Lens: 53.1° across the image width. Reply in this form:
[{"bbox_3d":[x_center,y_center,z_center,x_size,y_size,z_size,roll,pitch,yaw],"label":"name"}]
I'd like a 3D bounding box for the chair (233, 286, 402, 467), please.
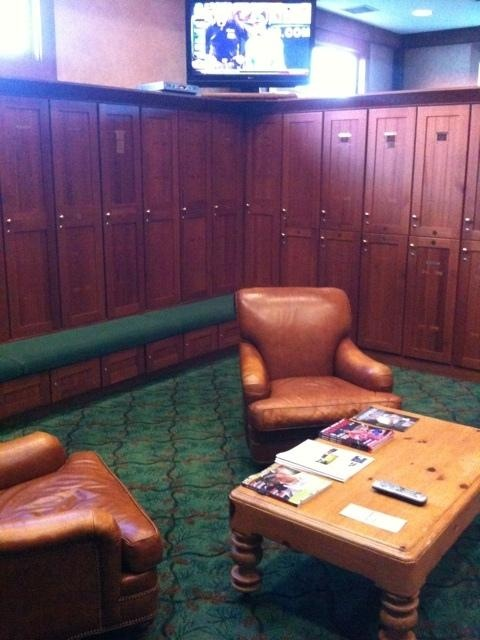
[{"bbox_3d":[0.359,0.250,2.973,0.835,1.093,1.022,-2,6,-8],"label":"chair"}]

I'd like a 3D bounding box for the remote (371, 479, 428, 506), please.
[{"bbox_3d":[0.518,0.560,1.563,0.113,0.024,0.057,16,10,29],"label":"remote"}]
